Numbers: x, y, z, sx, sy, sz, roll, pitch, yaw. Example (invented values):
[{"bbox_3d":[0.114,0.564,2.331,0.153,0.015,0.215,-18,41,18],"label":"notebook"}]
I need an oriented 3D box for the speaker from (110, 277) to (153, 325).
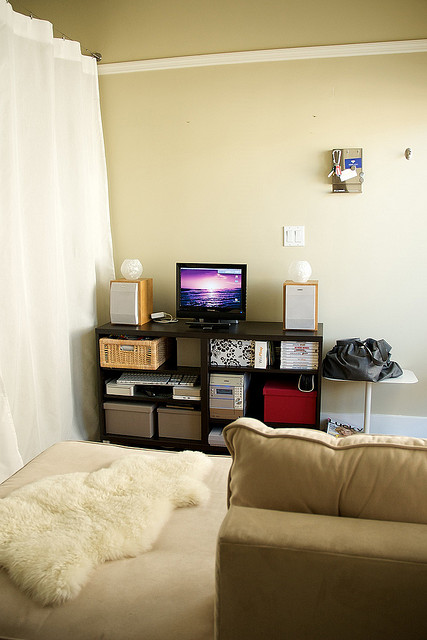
[{"bbox_3d":[-0.492,-0.121,3.147,0.198,0.272,0.284,6,14,16],"label":"speaker"}]

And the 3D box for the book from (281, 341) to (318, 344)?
[{"bbox_3d":[0.459,0.122,2.777,0.191,0.017,0.026,0,10,7],"label":"book"}]

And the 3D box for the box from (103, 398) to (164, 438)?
[{"bbox_3d":[-0.535,0.635,3.106,0.302,0.193,0.172,9,-39,-25],"label":"box"}]

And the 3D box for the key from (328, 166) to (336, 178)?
[{"bbox_3d":[0.689,-0.866,3.037,0.016,0.059,0.014,38,24,0],"label":"key"}]

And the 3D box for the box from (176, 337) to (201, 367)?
[{"bbox_3d":[-0.155,0.203,3.275,0.179,0.254,0.127,1,2,12],"label":"box"}]

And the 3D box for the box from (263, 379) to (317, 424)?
[{"bbox_3d":[0.448,0.496,3.029,0.337,0.189,0.343,0,-7,20],"label":"box"}]

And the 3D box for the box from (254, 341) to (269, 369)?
[{"bbox_3d":[0.256,0.188,2.821,0.048,0.128,0.138,0,6,11],"label":"box"}]

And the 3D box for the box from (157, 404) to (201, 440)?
[{"bbox_3d":[-0.202,0.599,3.011,0.197,0.127,0.203,2,4,10],"label":"box"}]

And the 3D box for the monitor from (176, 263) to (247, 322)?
[{"bbox_3d":[-0.007,-0.163,3.019,0.316,0.277,0.105,1,4,9],"label":"monitor"}]

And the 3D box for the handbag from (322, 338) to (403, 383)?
[{"bbox_3d":[0.847,0.195,2.987,0.428,0.195,0.366,14,13,8],"label":"handbag"}]

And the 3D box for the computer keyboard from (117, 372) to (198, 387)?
[{"bbox_3d":[-0.326,0.350,3.068,0.458,0.044,0.169,1,10,11],"label":"computer keyboard"}]

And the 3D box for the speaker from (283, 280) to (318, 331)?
[{"bbox_3d":[0.483,-0.098,2.894,0.205,0.267,0.198,-2,20,2],"label":"speaker"}]
